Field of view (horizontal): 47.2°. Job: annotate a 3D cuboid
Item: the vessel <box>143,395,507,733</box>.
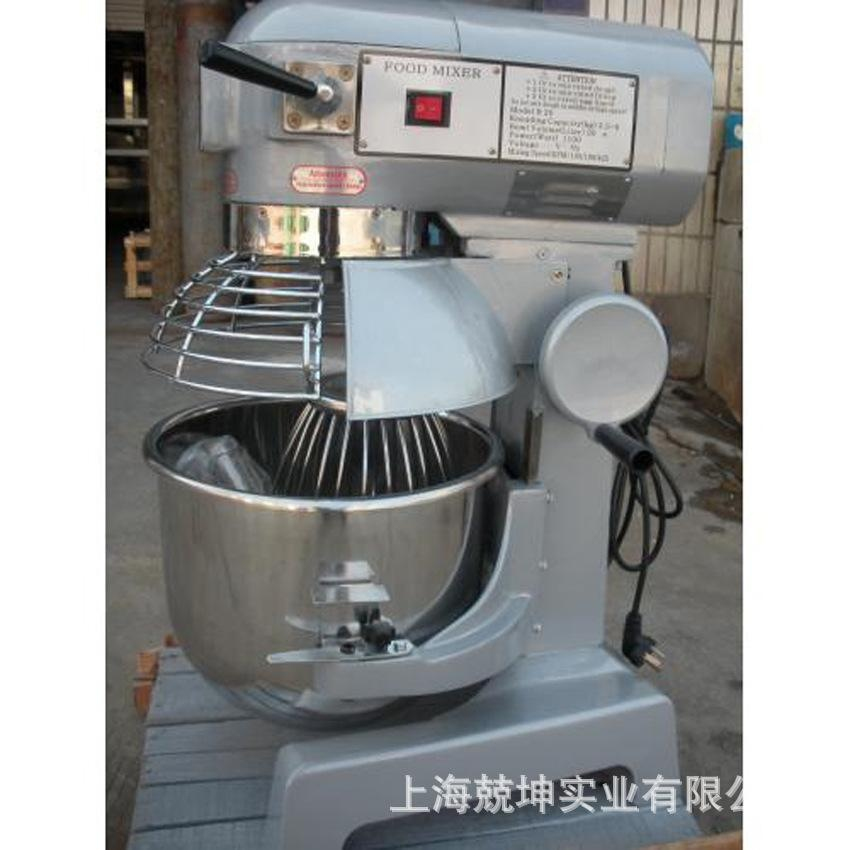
[{"bbox_3d":[-0.103,0.094,1.039,0.310,0.303,0.362,5,10,10],"label":"vessel"}]
